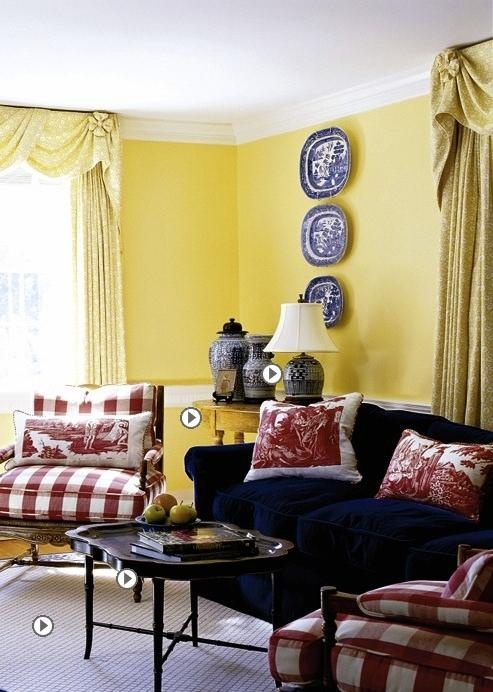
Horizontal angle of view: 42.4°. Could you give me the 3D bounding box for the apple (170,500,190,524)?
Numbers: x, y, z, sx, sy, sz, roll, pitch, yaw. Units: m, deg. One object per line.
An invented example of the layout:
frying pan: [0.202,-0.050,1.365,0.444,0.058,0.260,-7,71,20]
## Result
apple: [-0.228,0.580,2.198,0.078,0.064,0.082,-1,4,-6]

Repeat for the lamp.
lamp: [0.338,0.018,3.819,0.366,0.636,0.296,-3,5,-22]

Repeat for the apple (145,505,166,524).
apple: [-0.309,0.574,2.187,0.064,0.057,0.061,2,4,4]

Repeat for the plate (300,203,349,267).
plate: [0.521,-0.721,4.200,0.079,0.362,0.350,0,1,-33]

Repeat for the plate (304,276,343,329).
plate: [0.531,-0.293,4.180,0.059,0.311,0.280,-1,-6,-31]

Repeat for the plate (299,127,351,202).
plate: [0.529,-1.189,4.179,0.086,0.436,0.394,-5,6,-42]

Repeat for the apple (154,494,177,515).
apple: [-0.302,0.577,2.341,0.077,0.069,0.076,-27,-21,37]
